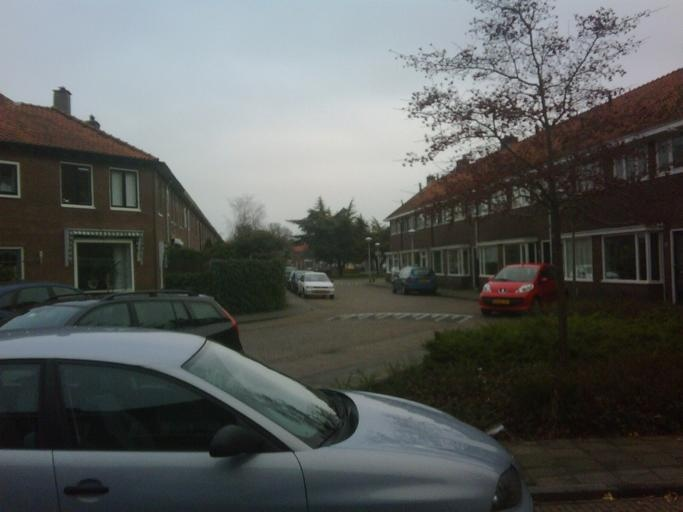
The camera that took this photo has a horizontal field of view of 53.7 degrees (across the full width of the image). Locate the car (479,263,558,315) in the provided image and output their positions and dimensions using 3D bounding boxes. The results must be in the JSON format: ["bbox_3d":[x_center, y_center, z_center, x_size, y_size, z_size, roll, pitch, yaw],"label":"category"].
[{"bbox_3d":[5.265,0.982,19.460,1.391,1.297,2.413,-6,-7,38],"label":"car"}]

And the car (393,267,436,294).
[{"bbox_3d":[3.476,1.149,32.580,1.340,0.852,2.728,-2,-2,-15],"label":"car"}]

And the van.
[{"bbox_3d":[-3.244,0.860,10.206,3.273,1.292,1.587,6,-6,-30],"label":"van"}]
